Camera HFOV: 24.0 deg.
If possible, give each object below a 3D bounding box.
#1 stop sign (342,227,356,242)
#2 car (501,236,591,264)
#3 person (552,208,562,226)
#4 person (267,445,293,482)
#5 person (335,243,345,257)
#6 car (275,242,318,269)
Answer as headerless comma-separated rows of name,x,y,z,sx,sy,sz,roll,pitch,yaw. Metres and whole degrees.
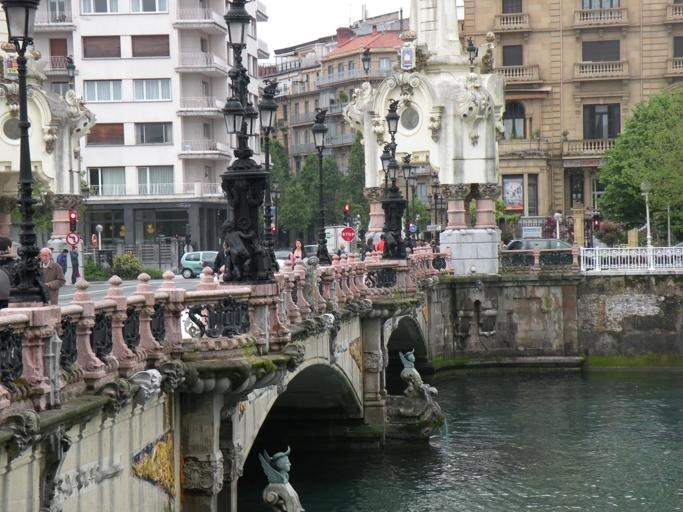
stop sign,0.257,-0.724,57.274,0.503,0.496,0.086,-12,-9,-25
car,7.560,0.018,62.841,2.373,0.963,1.319,-2,3,2
person,11.170,-1.931,83.967,0.283,0.975,0.395,-3,14,-2
person,-1.430,4.949,38.536,0.461,0.810,0.438,-1,7,4
person,-0.053,-0.166,54.930,0.289,0.336,0.742,7,-19,5
car,-2.003,-0.169,63.229,0.963,0.860,1.666,-4,-7,40
